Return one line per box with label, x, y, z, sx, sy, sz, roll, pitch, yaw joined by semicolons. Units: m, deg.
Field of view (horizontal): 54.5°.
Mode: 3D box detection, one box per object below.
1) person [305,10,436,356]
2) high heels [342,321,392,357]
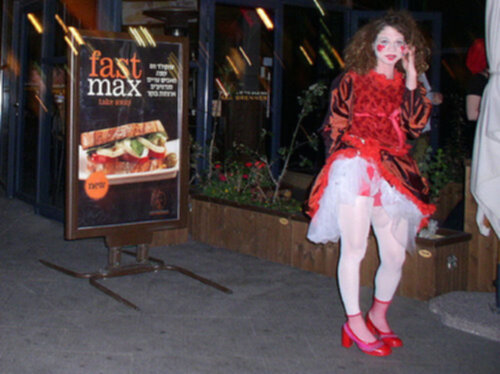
person;0.797;-0.023;3.232;0.771;2.206;0.721;2;0;1
high heels;0.751;0.993;3.174;0.329;0.175;0.136;4;0;37
